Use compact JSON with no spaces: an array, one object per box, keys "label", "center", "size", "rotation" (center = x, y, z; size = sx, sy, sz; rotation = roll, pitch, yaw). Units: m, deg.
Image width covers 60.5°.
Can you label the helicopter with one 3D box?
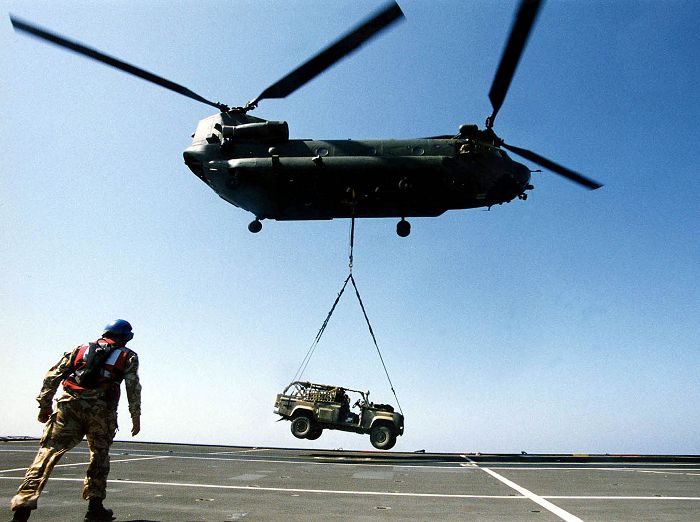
[{"label":"helicopter","center":[0.050,-2.193,13.188],"size":[7.926,2.290,6.390],"rotation":[0,-7,9]}]
